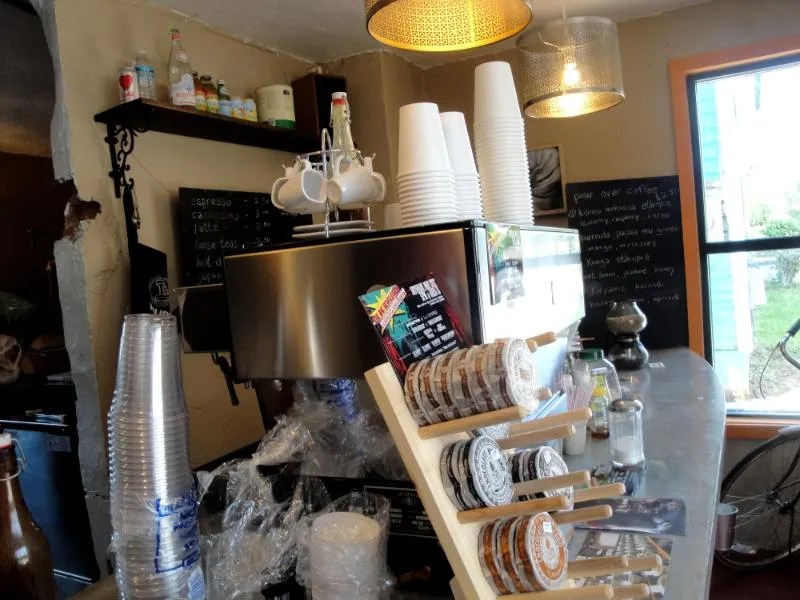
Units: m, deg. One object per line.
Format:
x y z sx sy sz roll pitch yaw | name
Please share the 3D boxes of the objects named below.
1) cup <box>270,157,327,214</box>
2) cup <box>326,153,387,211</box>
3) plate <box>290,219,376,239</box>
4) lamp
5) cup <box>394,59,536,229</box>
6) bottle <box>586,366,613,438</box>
-0.273 -0.336 1.757 0.115 0.191 0.184 3 -21 -26 | cup
-0.135 -0.326 1.715 0.163 0.119 0.121 28 34 35 | cup
-0.193 -0.188 1.720 0.298 0.043 0.125 -4 2 30 | plate
0.723 -1.024 2.883 0.455 0.379 0.487 -6 5 -12 | lamp
0.196 -0.470 1.822 0.193 0.371 0.542 -4 2 32 | cup
0.680 0.362 2.155 0.085 0.166 0.236 -4 2 16 | bottle
